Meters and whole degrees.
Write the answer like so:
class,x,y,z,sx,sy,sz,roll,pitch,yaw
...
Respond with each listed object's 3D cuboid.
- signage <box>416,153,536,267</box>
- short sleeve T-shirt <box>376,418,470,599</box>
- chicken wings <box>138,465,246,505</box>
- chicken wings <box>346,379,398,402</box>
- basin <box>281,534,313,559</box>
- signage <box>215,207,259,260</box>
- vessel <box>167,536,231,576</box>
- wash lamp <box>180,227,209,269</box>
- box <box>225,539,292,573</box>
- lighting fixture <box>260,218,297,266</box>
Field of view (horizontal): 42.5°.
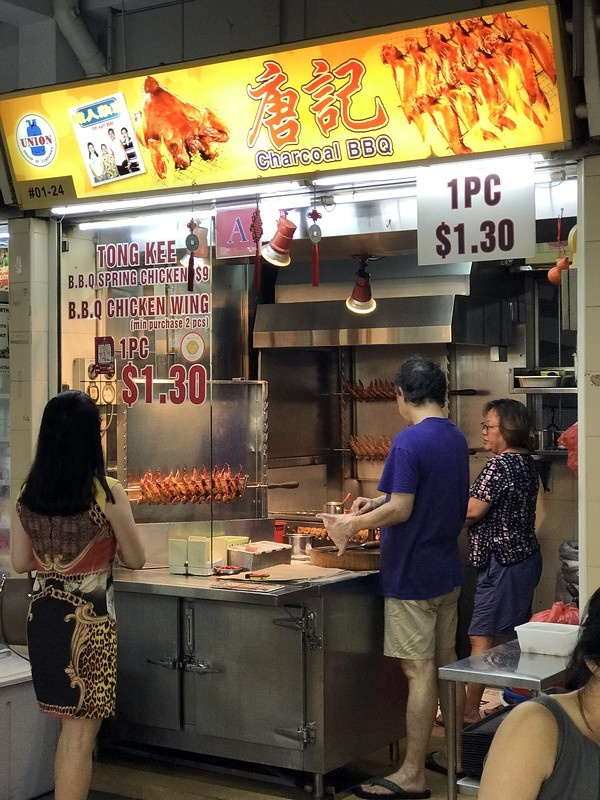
class,x,y,z,sx,sy,sz,roll,pitch,yaw
signage,0.743,-0.825,3.247,0.416,0.331,0.003,2,6,28
short sleeve T-shirt,0.535,0.487,3.393,0.382,0.798,0.268,1,2,-1
chicken wings,-0.555,0.440,3.952,0.667,0.282,0.191,1,-7,-4
chicken wings,0.571,-0.090,6.270,0.496,0.245,0.146,-5,-16,35
basin,-0.014,0.812,4.255,0.133,0.104,0.105,3,-4,-34
signage,-0.316,-0.845,3.861,0.273,0.354,0.036,-4,-8,30
vessel,-0.510,0.732,3.754,0.199,0.164,0.214,-2,-4,24
wash lamp,-0.528,-0.762,3.858,0.100,0.196,0.139,-1,3,-36
box,-0.208,0.763,3.848,0.140,0.078,0.219,2,1,31
lighting fixture,-0.113,-0.810,3.834,0.158,0.260,0.284,1,2,-4
